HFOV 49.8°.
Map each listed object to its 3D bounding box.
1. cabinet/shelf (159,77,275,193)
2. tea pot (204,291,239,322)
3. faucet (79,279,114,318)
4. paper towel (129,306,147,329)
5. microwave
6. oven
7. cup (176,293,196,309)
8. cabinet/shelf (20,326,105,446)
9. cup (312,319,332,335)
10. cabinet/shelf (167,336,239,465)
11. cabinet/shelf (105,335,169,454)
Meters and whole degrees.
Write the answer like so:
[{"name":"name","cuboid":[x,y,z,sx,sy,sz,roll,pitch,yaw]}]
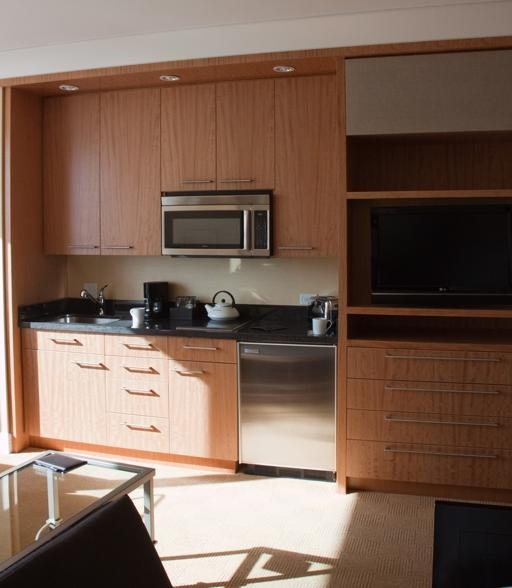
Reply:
[{"name":"cabinet/shelf","cuboid":[-0.291,-1.003,3.402,0.743,0.578,0.231,-11,28,-24]},{"name":"tea pot","cuboid":[-0.234,0.077,3.592,0.223,0.176,0.195,2,4,23]},{"name":"faucet","cuboid":[-1.152,0.042,3.959,0.207,0.229,0.296,-3,7,-17]},{"name":"paper towel","cuboid":[-0.747,0.149,3.489,0.138,0.130,0.087,1,1,-23]},{"name":"microwave","cuboid":[-0.207,-0.417,3.512,0.722,0.397,0.401,3,5,18]},{"name":"oven","cuboid":[0.243,0.635,3.237,0.581,0.686,0.414,-2,-6,22]},{"name":"cup","cuboid":[-0.480,0.047,3.680,0.112,0.120,0.071,3,7,20]},{"name":"cabinet/shelf","cuboid":[-1.174,0.572,3.714,0.666,0.642,0.487,2,4,2]},{"name":"cup","cuboid":[0.364,0.185,3.106,0.120,0.078,0.071,0,1,3]},{"name":"cabinet/shelf","cuboid":[-0.274,0.670,3.377,0.520,0.662,0.472,-2,-6,5]},{"name":"cabinet/shelf","cuboid":[-0.686,0.589,3.493,0.510,0.741,0.392,4,19,6]}]
